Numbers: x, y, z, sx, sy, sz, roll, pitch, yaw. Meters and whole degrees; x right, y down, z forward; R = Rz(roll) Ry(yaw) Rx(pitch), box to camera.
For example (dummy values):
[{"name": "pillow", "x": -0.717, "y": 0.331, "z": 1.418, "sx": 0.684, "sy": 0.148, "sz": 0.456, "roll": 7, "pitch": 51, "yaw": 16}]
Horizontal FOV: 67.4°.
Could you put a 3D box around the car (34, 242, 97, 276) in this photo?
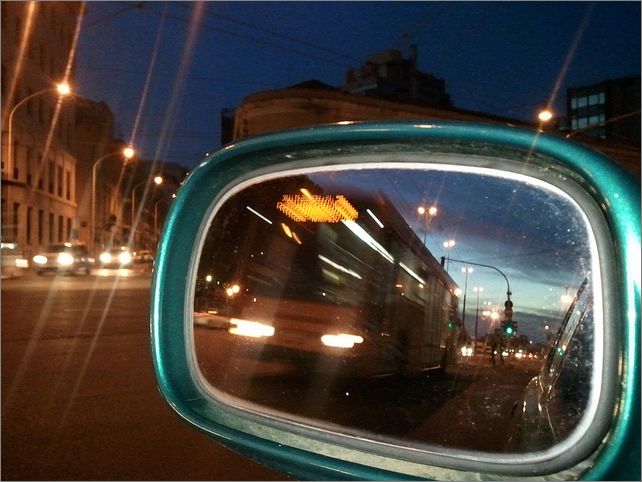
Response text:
[{"name": "car", "x": -16.443, "y": 1.087, "z": 30.104, "sx": 1.144, "sy": 1.417, "sz": 3.397, "roll": 1, "pitch": -3, "yaw": 28}]

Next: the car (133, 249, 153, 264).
[{"name": "car", "x": -21.512, "y": 1.805, "z": 57.649, "sx": 2.155, "sy": 1.241, "sz": 3.196, "roll": 1, "pitch": -7, "yaw": -15}]
